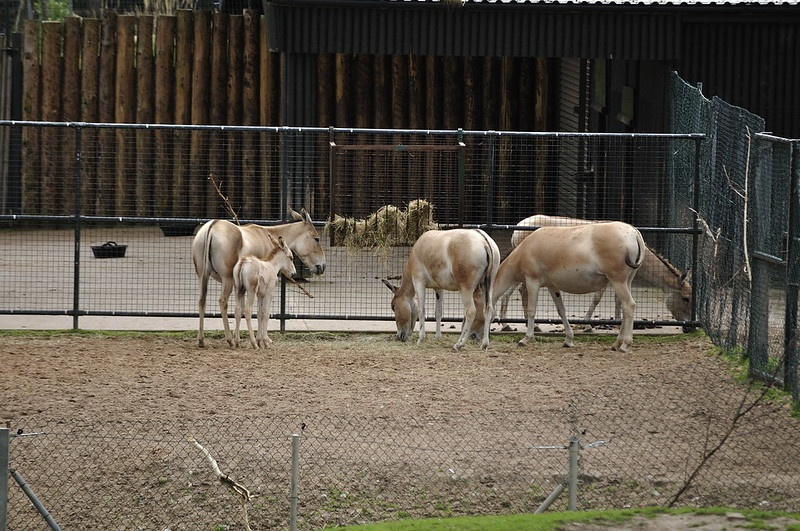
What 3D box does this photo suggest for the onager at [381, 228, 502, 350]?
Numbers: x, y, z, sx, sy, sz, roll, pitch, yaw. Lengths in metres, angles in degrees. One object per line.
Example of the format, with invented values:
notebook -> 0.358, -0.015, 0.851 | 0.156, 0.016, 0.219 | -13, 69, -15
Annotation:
onager -> 0.647, 0.339, 23.065 | 0.682, 1.892, 2.243 | -1, -2, -44

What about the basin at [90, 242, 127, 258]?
basin -> -5.579, -0.311, 27.527 | 0.605, 0.318, 0.463 | 0, -1, -36

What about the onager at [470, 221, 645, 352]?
onager -> 2.463, 0.367, 23.008 | 2.760, 2.195, 0.760 | -2, -1, 27

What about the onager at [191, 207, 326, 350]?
onager -> -2.248, 0.150, 23.229 | 0.735, 2.337, 2.730 | 5, 3, 37

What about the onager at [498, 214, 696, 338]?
onager -> 2.571, 0.292, 24.182 | 3.255, 2.087, 0.807 | 1, -3, 42

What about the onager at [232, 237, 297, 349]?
onager -> -2.187, 0.403, 22.403 | 0.501, 1.698, 1.127 | 5, 7, 25
